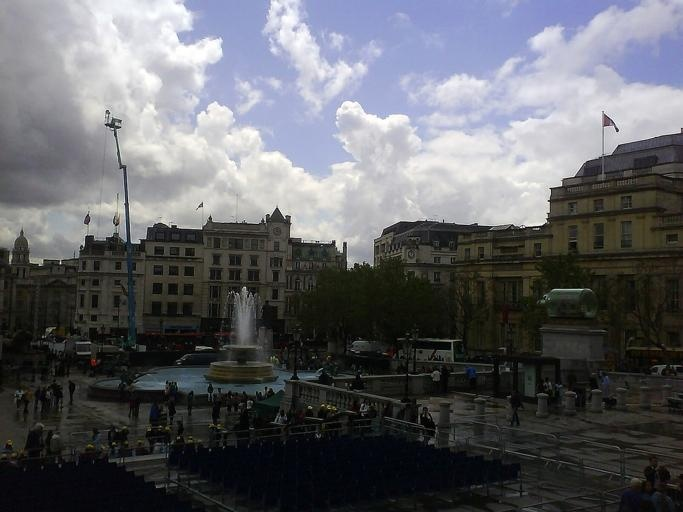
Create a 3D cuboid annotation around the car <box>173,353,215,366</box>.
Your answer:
[{"bbox_3d":[-13.937,9.862,66.443,2.933,1.101,1.726,5,-6,-11],"label":"car"}]

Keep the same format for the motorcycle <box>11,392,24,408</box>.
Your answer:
[{"bbox_3d":[-18.715,8.305,40.015,0.824,0.376,1.184,13,-46,-40],"label":"motorcycle"}]
